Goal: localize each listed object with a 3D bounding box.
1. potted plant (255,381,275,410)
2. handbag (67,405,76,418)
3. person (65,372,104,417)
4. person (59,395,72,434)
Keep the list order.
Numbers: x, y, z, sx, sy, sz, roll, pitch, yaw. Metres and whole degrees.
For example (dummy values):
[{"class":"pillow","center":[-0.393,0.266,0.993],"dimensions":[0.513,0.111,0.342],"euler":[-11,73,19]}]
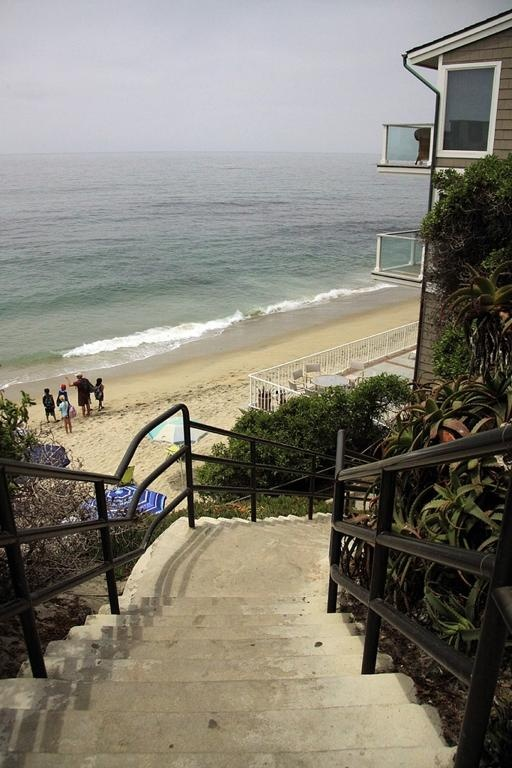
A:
[{"class":"potted plant","center":[0.251,0.275,14.727],"dimensions":[0.685,0.914,0.679],"euler":[2,0,2]},{"class":"handbag","center":[-5.836,0.815,16.878],"dimensions":[0.236,0.441,0.325],"euler":[-18,24,-32]},{"class":"person","center":[-5.680,0.197,18.122],"dimensions":[0.905,1.446,1.189],"euler":[-6,16,-19]},{"class":"person","center":[-5.952,0.835,16.732],"dimensions":[0.363,1.059,1.103],"euler":[-6,16,-20]}]
